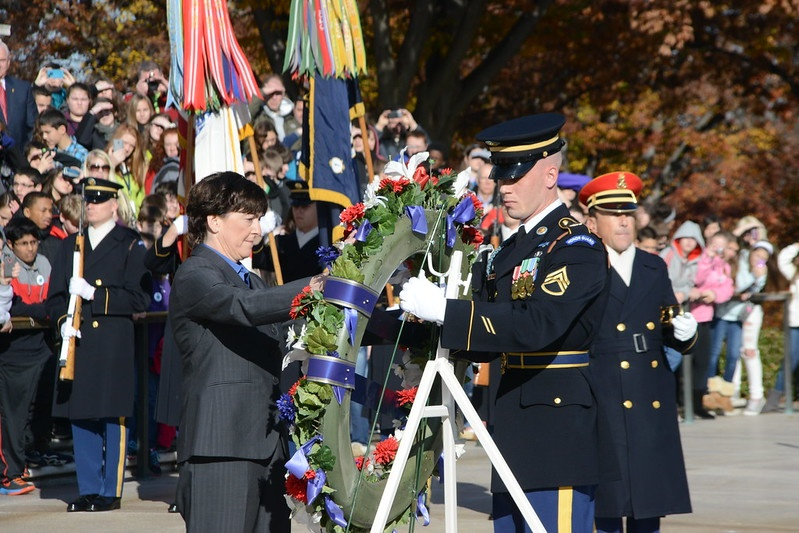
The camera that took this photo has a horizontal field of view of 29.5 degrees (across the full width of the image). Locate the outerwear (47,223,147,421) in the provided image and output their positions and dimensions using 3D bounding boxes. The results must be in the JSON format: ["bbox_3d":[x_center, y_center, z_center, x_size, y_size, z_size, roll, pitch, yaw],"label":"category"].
[{"bbox_3d":[-3.389,0.585,16.912,1.051,2.194,0.634,-1,-3,10],"label":"outerwear"}]

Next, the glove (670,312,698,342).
[{"bbox_3d":[2.800,0.599,15.071,0.231,0.296,0.134,-2,-9,5],"label":"glove"}]

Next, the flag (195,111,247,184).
[{"bbox_3d":[-1.985,-1.358,16.589,0.574,1.366,0.133,8,-52,-16],"label":"flag"}]

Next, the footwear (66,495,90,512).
[{"bbox_3d":[-3.515,2.599,16.676,0.277,0.119,0.119,6,-6,-37],"label":"footwear"}]

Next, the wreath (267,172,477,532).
[{"bbox_3d":[-0.324,0.748,13.979,0.646,3.008,2.512,8,2,30],"label":"wreath"}]

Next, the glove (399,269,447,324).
[{"bbox_3d":[0.210,0.302,14.092,0.470,0.333,0.174,30,0,-6],"label":"glove"}]

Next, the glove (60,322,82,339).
[{"bbox_3d":[-3.583,0.701,16.692,0.116,0.181,0.229,-9,-12,37],"label":"glove"}]

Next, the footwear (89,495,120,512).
[{"bbox_3d":[-3.235,2.599,16.696,0.351,0.129,0.129,7,-40,-28],"label":"footwear"}]
